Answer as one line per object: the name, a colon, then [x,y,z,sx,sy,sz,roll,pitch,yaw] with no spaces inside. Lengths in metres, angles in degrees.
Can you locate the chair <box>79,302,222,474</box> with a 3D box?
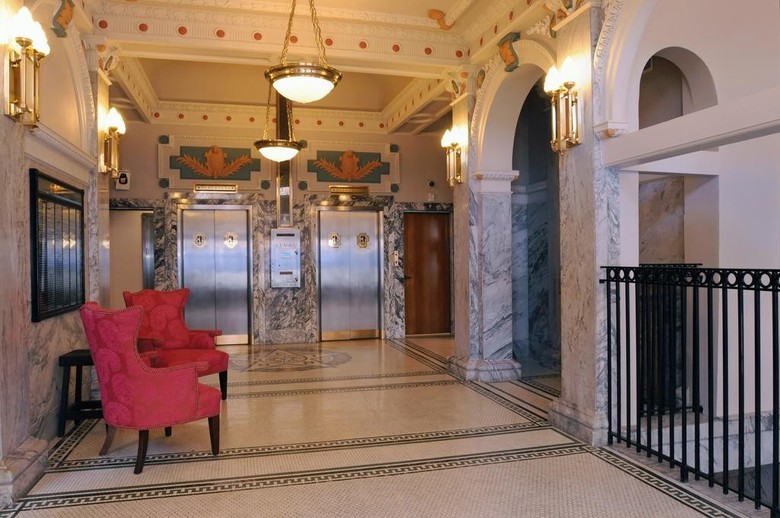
chair: [-2.545,1.151,6.191,1.570,2.031,1.427,-1,2,-39]

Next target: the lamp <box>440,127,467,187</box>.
lamp: [0.948,-1.514,8.303,0.352,0.869,0.324,0,6,8]

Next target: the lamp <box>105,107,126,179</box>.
lamp: [-3.648,-1.531,7.362,0.261,0.883,0.422,-4,7,-26]

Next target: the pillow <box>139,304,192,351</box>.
pillow: [-2.845,0.879,7.189,0.582,0.624,0.531,5,-13,-36]

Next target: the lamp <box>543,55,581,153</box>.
lamp: [1.838,-1.623,5.951,0.368,0.966,0.226,1,7,17]
